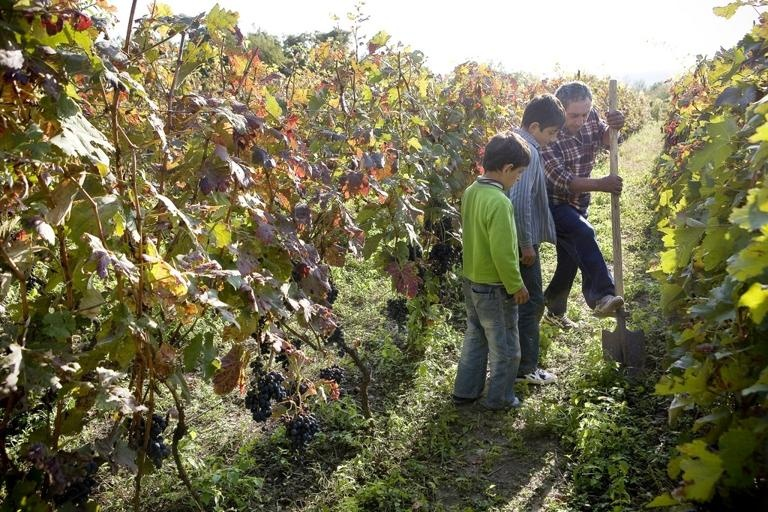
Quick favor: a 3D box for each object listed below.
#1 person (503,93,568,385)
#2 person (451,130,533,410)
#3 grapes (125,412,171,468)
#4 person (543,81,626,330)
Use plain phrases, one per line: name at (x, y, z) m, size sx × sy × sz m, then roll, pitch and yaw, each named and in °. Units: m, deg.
person at (1.187, -0.120, 4.686) m, size 0.602 × 2.342 × 0.725 m, roll 0°, pitch 8°, yaw 12°
person at (0.850, 0.138, 4.318) m, size 0.616 × 2.055 × 0.698 m, roll -6°, pitch 11°, yaw -19°
grapes at (-1.163, 0.901, 2.762) m, size 0.215 × 0.246 × 0.385 m, roll 8°, pitch -14°, yaw -1°
person at (1.770, -0.410, 5.069) m, size 0.778 × 2.168 × 1.171 m, roll -2°, pitch 1°, yaw -6°
